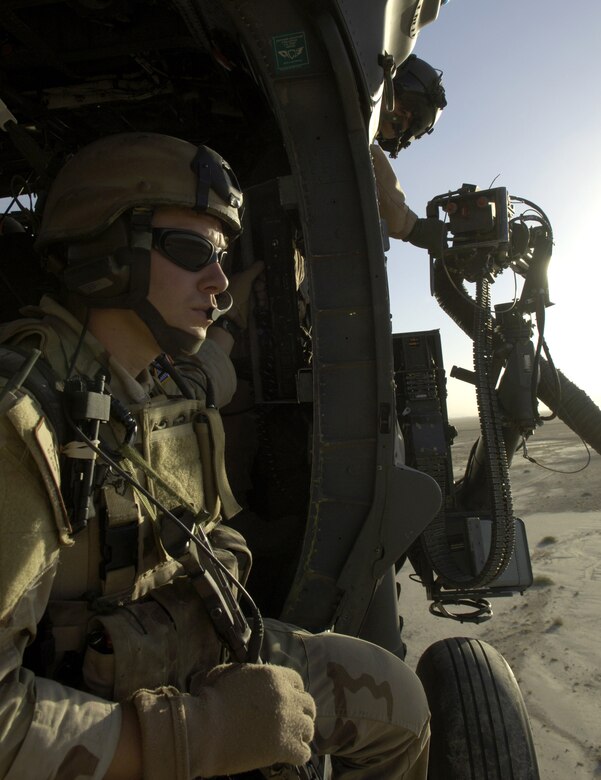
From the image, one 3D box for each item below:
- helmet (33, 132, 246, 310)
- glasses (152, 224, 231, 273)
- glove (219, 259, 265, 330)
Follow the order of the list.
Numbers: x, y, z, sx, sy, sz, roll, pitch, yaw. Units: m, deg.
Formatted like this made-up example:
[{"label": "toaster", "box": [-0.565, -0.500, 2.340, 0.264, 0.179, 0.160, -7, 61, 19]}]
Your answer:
[{"label": "helmet", "box": [-0.460, -0.514, 1.978, 0.439, 0.241, 0.415, 3, 3, -6]}, {"label": "glasses", "box": [-0.328, -0.410, 1.924, 0.139, 0.043, 0.138, 22, 3, 32]}, {"label": "glove", "box": [-0.272, -0.449, 3.188, 0.105, 0.363, 0.109, 28, -15, -4]}]
